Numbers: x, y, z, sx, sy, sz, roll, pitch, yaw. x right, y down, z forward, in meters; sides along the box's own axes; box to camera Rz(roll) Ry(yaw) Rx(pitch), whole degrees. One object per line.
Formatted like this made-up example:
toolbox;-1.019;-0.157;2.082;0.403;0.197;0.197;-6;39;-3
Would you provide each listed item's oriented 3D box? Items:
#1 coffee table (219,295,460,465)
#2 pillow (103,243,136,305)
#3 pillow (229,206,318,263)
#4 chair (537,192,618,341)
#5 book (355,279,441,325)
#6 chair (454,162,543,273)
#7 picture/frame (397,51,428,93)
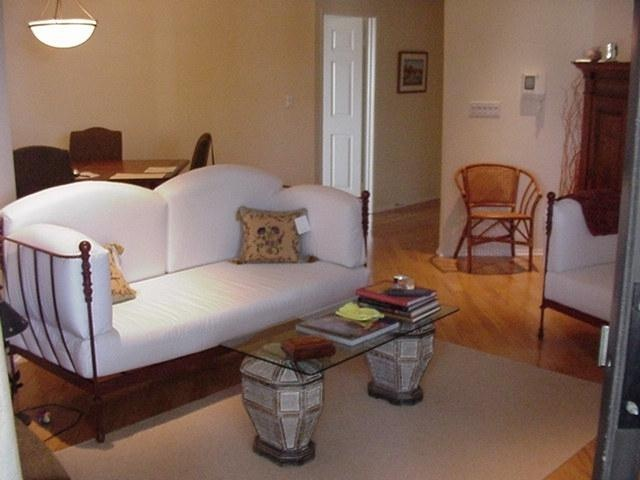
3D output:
coffee table;0.013;0.680;2.526;0.842;0.577;0.509;-15;23;-37
pillow;-1.166;0.186;2.906;0.132;0.293;0.390;-9;20;-23
pillow;-0.345;-0.034;3.559;0.362;0.327;0.131;0;-19;-5
chair;1.731;0.225;3.399;0.471;1.023;0.786;9;21;29
book;0.409;0.329;2.744;0.277;0.073;0.278;10;16;40
chair;1.716;-0.228;4.889;0.878;1.025;0.865;5;10;39
picture/frame;1.311;-2.410;7.139;0.668;0.572;0.104;-18;24;-42
